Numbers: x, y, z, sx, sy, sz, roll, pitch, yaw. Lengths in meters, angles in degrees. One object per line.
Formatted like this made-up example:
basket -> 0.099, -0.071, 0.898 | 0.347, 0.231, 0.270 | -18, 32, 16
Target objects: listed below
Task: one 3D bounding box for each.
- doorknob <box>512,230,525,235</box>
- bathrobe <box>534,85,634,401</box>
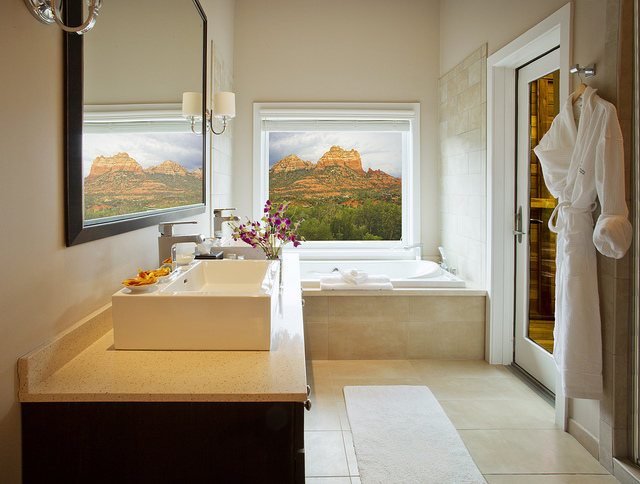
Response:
doorknob -> 1.440, -0.065, 3.259 | 0.022, 0.039, 0.092 | -4, 13, -24
bathrobe -> 1.369, 0.012, 2.378 | 0.246, 1.616, 0.585 | -1, 11, -10
